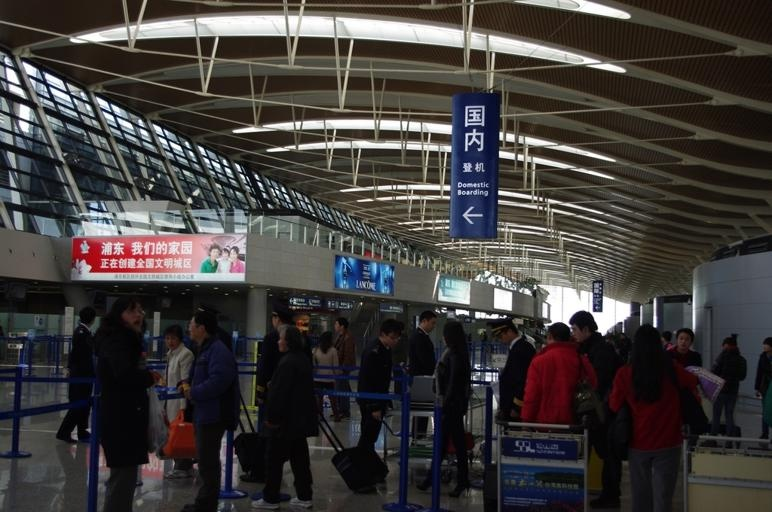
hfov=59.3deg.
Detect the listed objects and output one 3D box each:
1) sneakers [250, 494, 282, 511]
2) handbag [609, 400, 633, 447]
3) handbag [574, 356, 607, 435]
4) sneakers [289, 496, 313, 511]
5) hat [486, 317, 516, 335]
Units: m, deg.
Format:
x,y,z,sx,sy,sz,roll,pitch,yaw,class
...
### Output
x,y,z,sx,sy,sz,roll,pitch,yaw,class
-1.814,3.707,10.174,0.498,0.171,0.174,3,-5,12,sneakers
3.150,2.258,9.025,0.268,0.593,0.150,3,-7,13,handbag
2.951,2.068,9.816,0.432,1.044,1.148,-7,-20,17,handbag
-1.288,3.743,10.284,0.384,0.164,0.137,6,-2,20,sneakers
1.897,1.167,11.086,0.392,0.159,0.323,3,2,16,hat
